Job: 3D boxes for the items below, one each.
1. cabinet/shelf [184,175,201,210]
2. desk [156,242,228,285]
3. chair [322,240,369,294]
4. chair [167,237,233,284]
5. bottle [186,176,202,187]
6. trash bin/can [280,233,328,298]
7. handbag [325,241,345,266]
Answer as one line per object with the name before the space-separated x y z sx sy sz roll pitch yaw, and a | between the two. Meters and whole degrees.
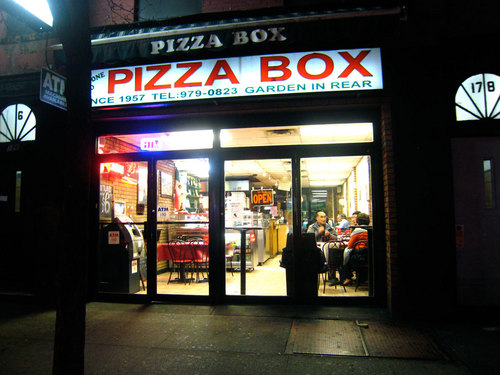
cabinet/shelf | -1.462 0.115 11.093 0.278 0.782 0.806 -1 -4 7
desk | -1.291 1.428 9.363 1.222 0.890 0.921 1 1 16
chair | 1.830 1.502 8.390 0.955 1.276 0.900 -1 -11 8
chair | -1.215 1.477 9.422 1.031 0.814 1.147 0 1 5
bottle | -1.416 -0.143 11.030 0.298 0.355 0.684 -1 5 0
trash bin/can | 0.880 1.349 8.015 0.883 1.098 0.945 0 -1 8
handbag | 1.647 1.281 8.494 0.368 0.683 0.419 0 -12 2
